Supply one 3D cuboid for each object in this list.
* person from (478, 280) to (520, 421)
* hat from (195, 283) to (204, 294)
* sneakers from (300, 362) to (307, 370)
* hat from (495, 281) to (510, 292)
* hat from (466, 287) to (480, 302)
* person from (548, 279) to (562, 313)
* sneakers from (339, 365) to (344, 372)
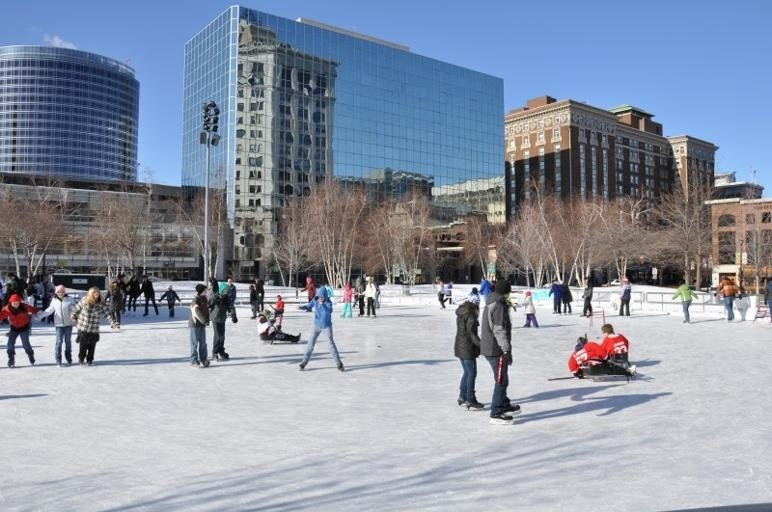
[{"bbox_3d":[3.339,2.780,23.778,0.963,4.186,1.007,0,-2,18],"label":"person"},{"bbox_3d":[-6.600,1.111,28.168,0.332,0.418,0.426,3,2,7],"label":"hat"},{"bbox_3d":[-2.907,3.831,27.969,0.235,0.268,0.434,1,-3,-6],"label":"sneakers"},{"bbox_3d":[3.416,0.900,23.504,0.355,0.305,0.366,-4,-7,-6],"label":"hat"},{"bbox_3d":[2.831,1.245,25.956,0.418,0.311,0.707,4,-7,8],"label":"hat"},{"bbox_3d":[9.424,2.303,44.275,0.519,1.664,0.939,0,-2,14],"label":"person"},{"bbox_3d":[-1.532,3.864,27.788,0.108,0.134,0.294,2,-9,-26],"label":"sneakers"}]
